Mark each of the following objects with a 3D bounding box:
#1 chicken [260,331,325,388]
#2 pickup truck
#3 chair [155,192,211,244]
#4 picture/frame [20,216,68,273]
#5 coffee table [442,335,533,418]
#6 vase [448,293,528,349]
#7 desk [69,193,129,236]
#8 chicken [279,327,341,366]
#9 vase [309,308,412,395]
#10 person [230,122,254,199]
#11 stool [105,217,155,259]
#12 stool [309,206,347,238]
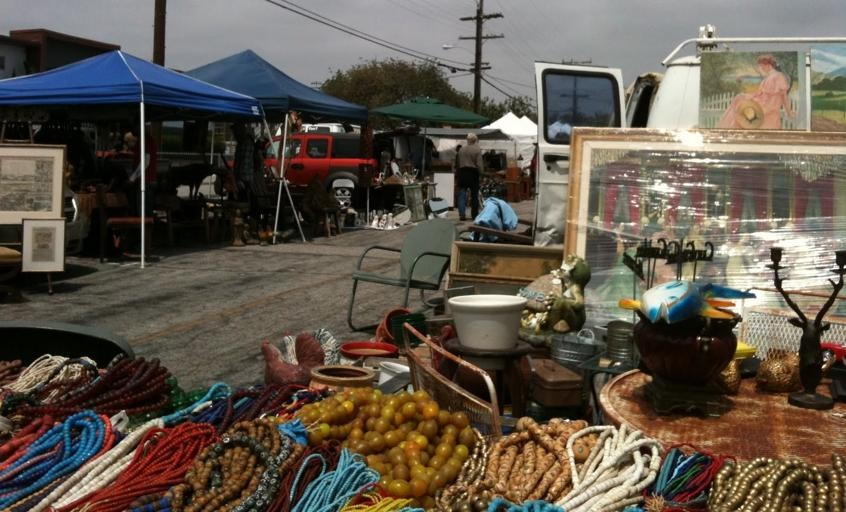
[{"bbox_3d":[-1.087,0.875,5.457,0.575,0.532,0.361,13,-35,-21],"label":"chicken"},{"bbox_3d":[-3.278,-2.618,19.163,4.601,2.210,2.453,5,17,17],"label":"pickup truck"},{"bbox_3d":[-5.216,-0.890,14.302,1.113,0.811,1.712,2,2,12],"label":"chair"},{"bbox_3d":[-5.110,-0.154,8.660,0.788,0.969,0.075,-1,-6,-20],"label":"picture/frame"},{"bbox_3d":[0.483,0.894,4.984,0.633,0.672,0.605,1,3,19],"label":"coffee table"},{"bbox_3d":[0.488,0.476,4.786,0.450,0.269,0.429,-1,1,-23],"label":"vase"},{"bbox_3d":[-5.460,-0.782,10.574,0.752,0.423,0.723,10,28,22],"label":"desk"},{"bbox_3d":[-0.966,0.821,5.897,0.362,0.166,0.433,-5,-2,2],"label":"chicken"},{"bbox_3d":[-0.527,0.917,5.421,0.586,0.476,0.345,2,-3,-40],"label":"vase"},{"bbox_3d":[-3.675,-1.905,13.235,0.432,1.544,0.748,-1,5,-15],"label":"person"},{"bbox_3d":[-5.077,-0.316,11.099,0.706,0.570,0.396,2,8,10],"label":"stool"},{"bbox_3d":[-2.167,-0.816,14.855,0.740,0.688,0.671,7,13,35],"label":"stool"}]
